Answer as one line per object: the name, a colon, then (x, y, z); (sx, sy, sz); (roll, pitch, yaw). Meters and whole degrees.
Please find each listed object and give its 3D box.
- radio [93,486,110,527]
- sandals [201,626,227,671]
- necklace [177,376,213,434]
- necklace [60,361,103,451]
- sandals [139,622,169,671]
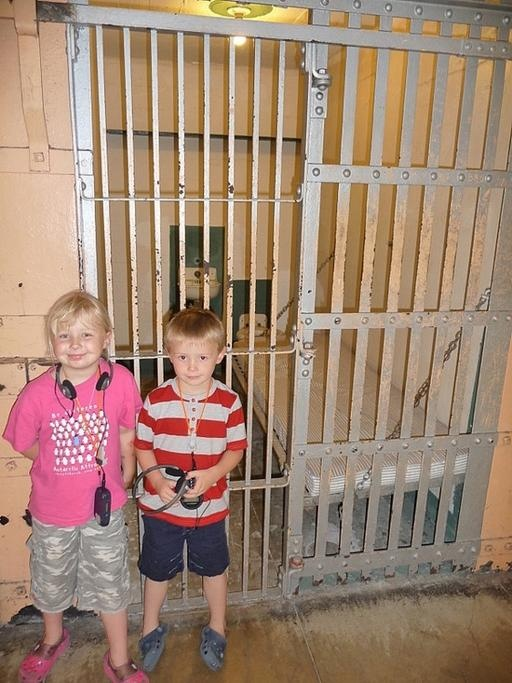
radio: (-0.467, 0.498, 1.711); (0.038, 0.109, 0.072); (-2, 46, -18)
sandals: (-0.154, 1.068, 1.976); (0.072, 0.054, 0.126); (29, 25, -33)
necklace: (-0.202, 0.220, 1.843); (0.111, 0.143, 0.074); (1, 14, -7)
necklace: (-0.507, 0.199, 1.697); (0.117, 0.283, 0.053); (-6, -4, -15)
sandals: (-0.358, 1.058, 1.970); (0.055, 0.156, 0.062); (-23, -38, 34)
